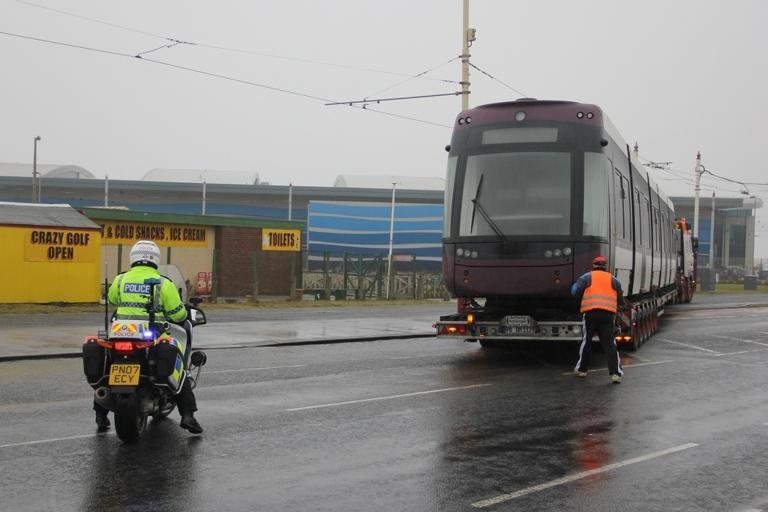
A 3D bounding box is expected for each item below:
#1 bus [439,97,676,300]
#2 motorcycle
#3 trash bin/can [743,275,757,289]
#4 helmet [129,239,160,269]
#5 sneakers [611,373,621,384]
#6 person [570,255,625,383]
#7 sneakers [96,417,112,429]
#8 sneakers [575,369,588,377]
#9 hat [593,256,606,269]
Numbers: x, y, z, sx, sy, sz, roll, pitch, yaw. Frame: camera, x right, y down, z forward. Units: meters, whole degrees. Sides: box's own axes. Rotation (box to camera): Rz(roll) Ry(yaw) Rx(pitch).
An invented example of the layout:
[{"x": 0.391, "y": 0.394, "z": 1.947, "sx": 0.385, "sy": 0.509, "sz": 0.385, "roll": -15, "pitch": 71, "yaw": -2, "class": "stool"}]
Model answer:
[{"x": 4.823, "y": -1.191, "z": 18.924, "sx": 2.794, "sy": 3.371, "sz": 7.382, "roll": -2, "pitch": -1, "yaw": 41, "class": "bus"}, {"x": -3.477, "y": 1.331, "z": 11.315, "sx": 1.576, "sy": 2.399, "sz": 1.158, "roll": -1, "pitch": -1, "yaw": -31, "class": "motorcycle"}, {"x": 31.680, "y": 2.306, "z": 68.538, "sx": 1.033, "sy": 1.003, "sz": 0.554, "roll": -1, "pitch": -5, "yaw": 8, "class": "trash bin/can"}, {"x": -3.557, "y": -0.024, "z": 11.577, "sx": 0.388, "sy": 0.449, "sz": 0.476, "roll": 1, "pitch": 2, "yaw": -5, "class": "helmet"}, {"x": 4.487, "y": 2.338, "z": 15.350, "sx": 0.109, "sy": 0.120, "sz": 0.291, "roll": 1, "pitch": 5, "yaw": 21, "class": "sneakers"}, {"x": 4.193, "y": 1.237, "z": 15.686, "sx": 0.912, "sy": 2.044, "sz": 0.801, "roll": -2, "pitch": -1, "yaw": 23, "class": "person"}, {"x": -4.113, "y": 2.407, "z": 11.579, "sx": 0.230, "sy": 0.213, "sz": 0.135, "roll": -1, "pitch": 0, "yaw": -23, "class": "sneakers"}, {"x": 3.986, "y": 2.343, "z": 15.989, "sx": 0.100, "sy": 0.117, "sz": 0.284, "roll": -2, "pitch": -7, "yaw": 36, "class": "sneakers"}, {"x": 4.310, "y": 0.157, "z": 15.823, "sx": 0.221, "sy": 0.155, "sz": 0.307, "roll": 3, "pitch": 17, "yaw": 19, "class": "hat"}]
